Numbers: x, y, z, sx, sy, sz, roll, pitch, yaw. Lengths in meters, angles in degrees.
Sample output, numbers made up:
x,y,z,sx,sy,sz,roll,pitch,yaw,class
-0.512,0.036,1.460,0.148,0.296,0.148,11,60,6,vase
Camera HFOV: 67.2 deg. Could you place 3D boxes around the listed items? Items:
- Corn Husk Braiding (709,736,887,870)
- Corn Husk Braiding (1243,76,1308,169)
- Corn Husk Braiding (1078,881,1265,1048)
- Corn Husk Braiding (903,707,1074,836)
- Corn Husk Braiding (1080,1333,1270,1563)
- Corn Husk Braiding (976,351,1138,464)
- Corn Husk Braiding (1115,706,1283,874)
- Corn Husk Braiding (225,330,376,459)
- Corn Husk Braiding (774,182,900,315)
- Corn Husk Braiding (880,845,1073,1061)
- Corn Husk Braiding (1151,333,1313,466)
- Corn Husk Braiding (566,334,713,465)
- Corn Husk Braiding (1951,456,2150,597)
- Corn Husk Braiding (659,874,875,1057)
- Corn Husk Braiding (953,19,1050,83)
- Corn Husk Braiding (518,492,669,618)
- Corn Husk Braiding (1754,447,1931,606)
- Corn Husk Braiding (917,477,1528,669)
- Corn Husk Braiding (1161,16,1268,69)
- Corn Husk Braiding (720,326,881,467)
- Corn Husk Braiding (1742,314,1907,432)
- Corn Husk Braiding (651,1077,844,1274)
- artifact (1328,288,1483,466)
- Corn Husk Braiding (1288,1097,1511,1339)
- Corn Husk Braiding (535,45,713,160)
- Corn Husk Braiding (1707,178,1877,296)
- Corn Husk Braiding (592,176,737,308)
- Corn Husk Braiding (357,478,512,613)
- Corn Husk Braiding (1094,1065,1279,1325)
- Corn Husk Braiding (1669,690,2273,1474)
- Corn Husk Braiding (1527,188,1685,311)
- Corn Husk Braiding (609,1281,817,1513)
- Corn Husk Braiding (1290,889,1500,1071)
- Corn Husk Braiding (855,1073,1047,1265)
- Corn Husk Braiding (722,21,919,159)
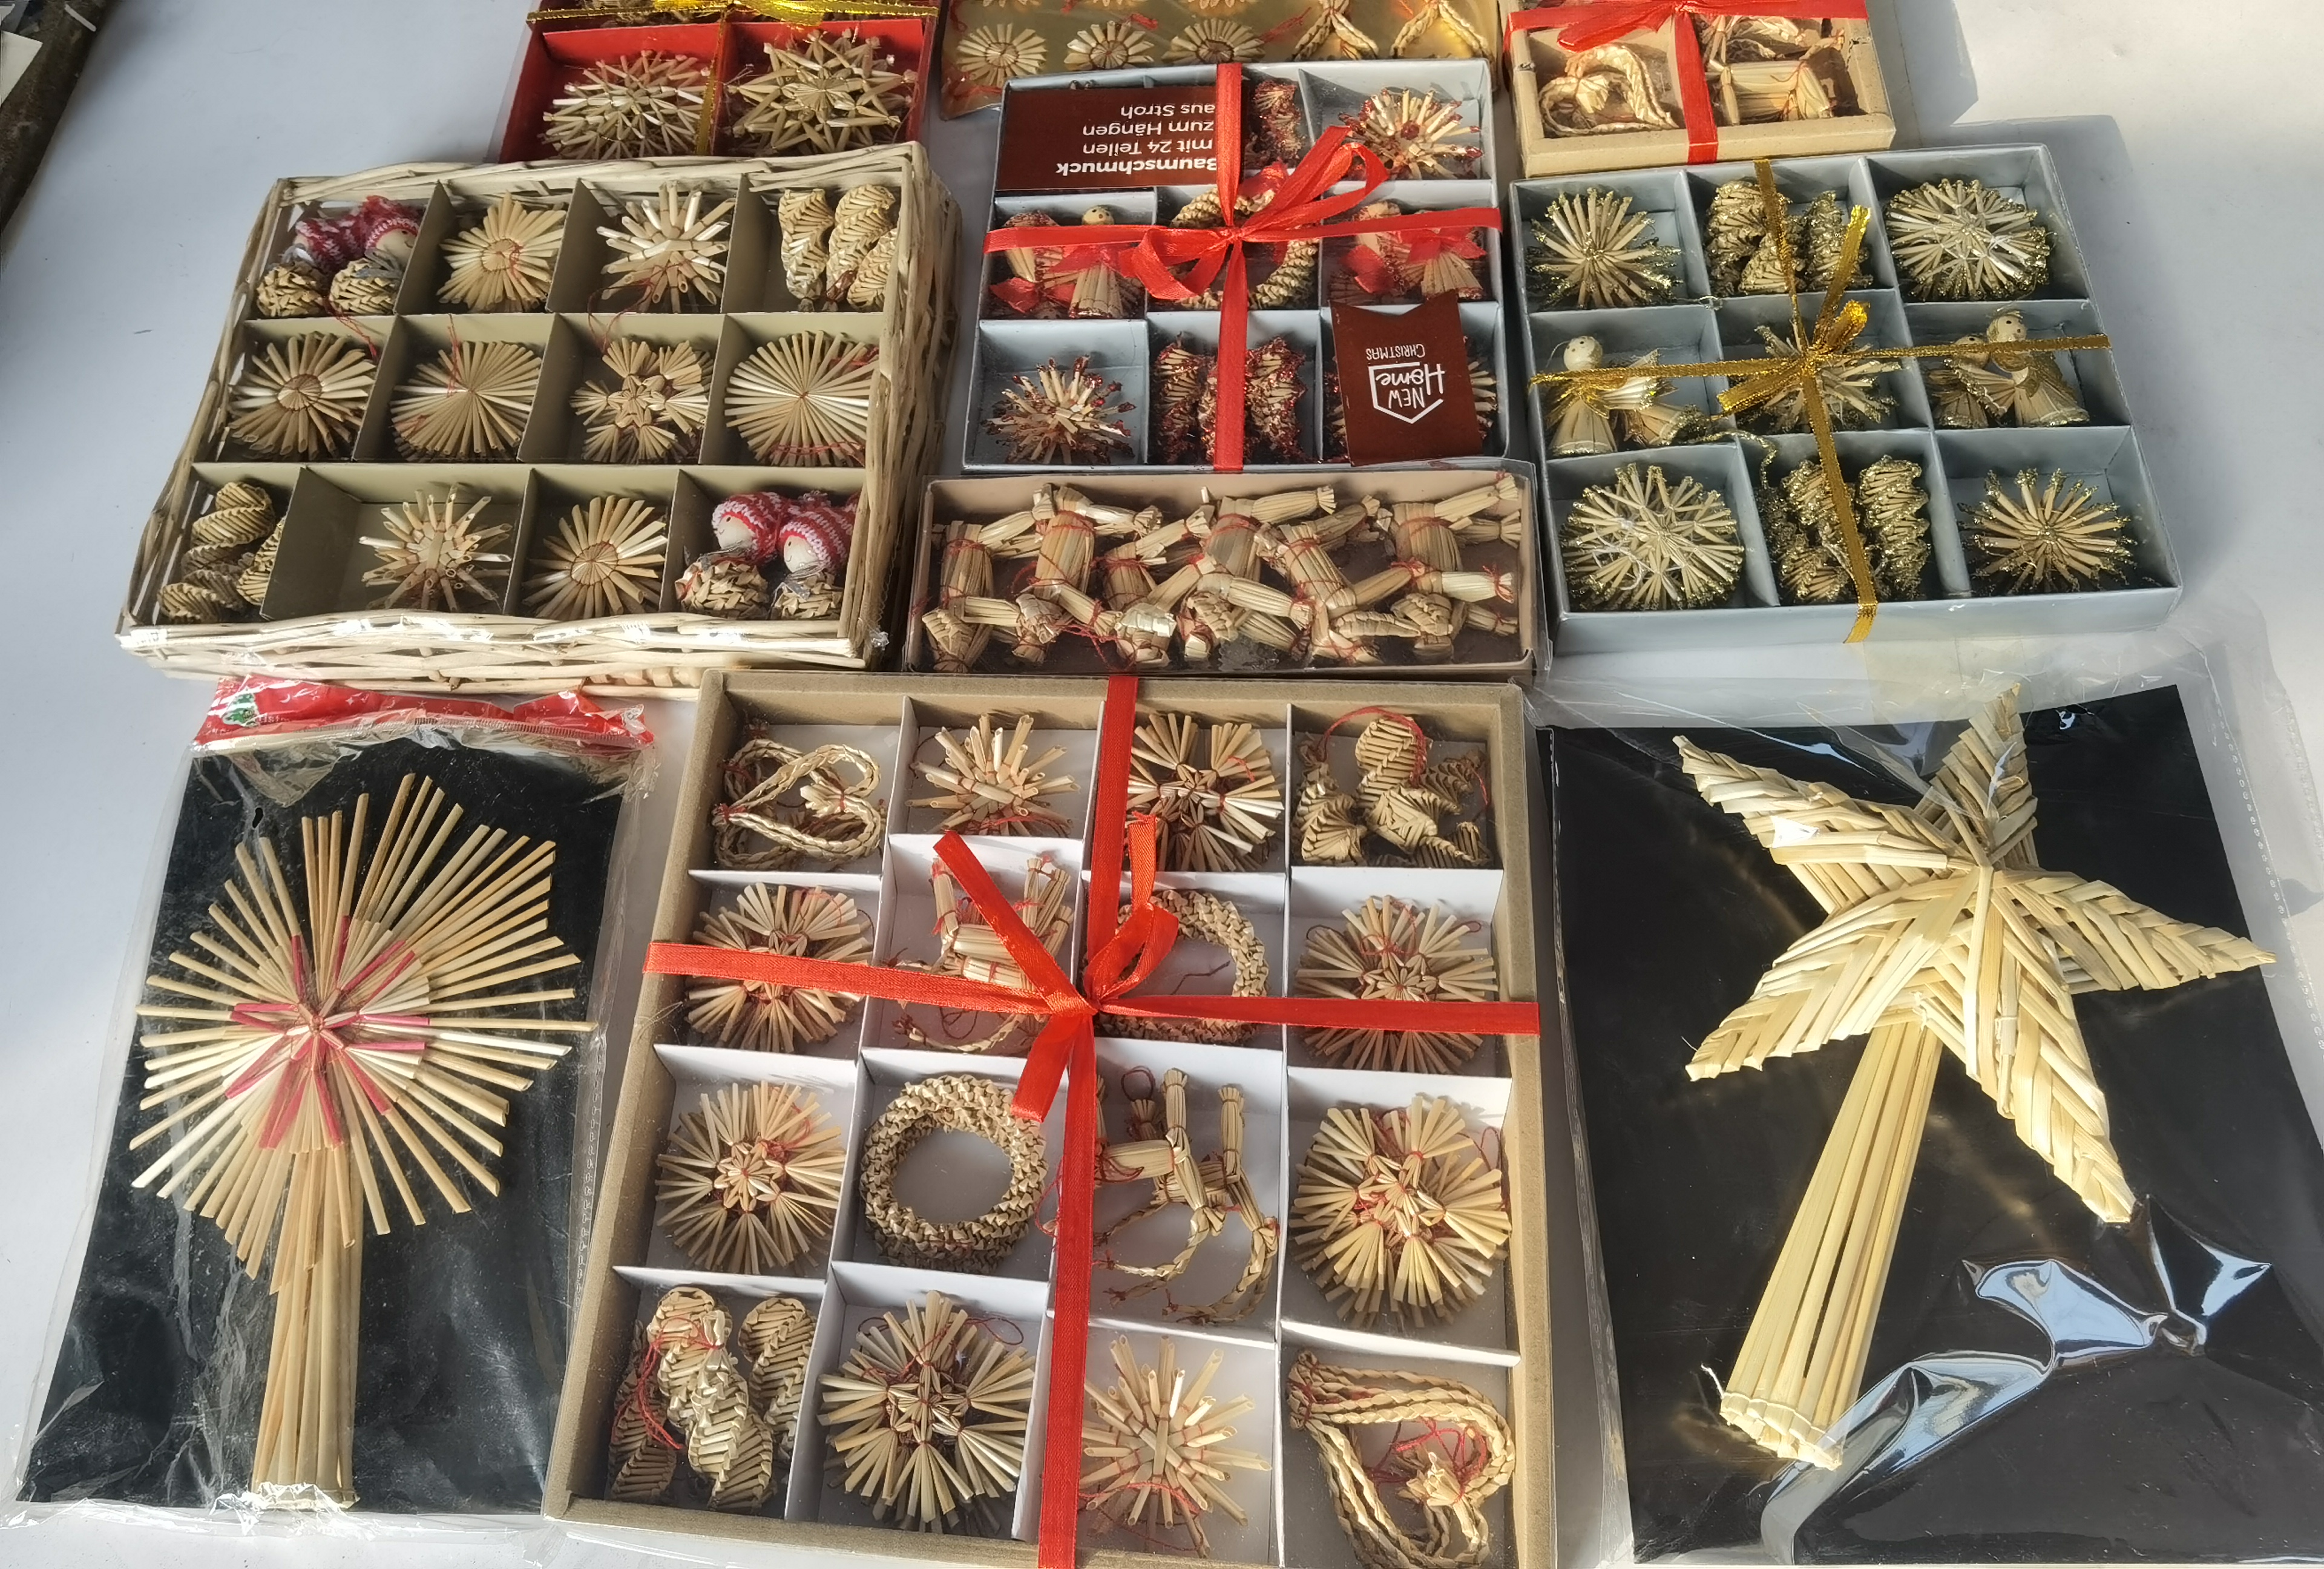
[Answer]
x,y,z,sx,sy,sz,roll,pitch,yaw,class
-0.506,0.037,2.481,0.239,0.089,0.158,7,78,-8,Corn Husk Braiding
0.183,-1.059,2.824,0.121,0.140,0.069,-6,-1,1,Corn Husk Braiding
0.013,0.237,2.283,0.214,0.065,0.203,3,84,4,Corn Husk Braiding
-0.221,-0.040,2.442,0.179,0.169,0.065,5,80,-9,Corn Husk Braiding
0.026,0.827,2.185,0.238,0.210,0.210,-1,35,7,Corn Husk Braiding
-0.147,-0.551,2.629,0.199,0.065,0.190,30,72,9,Corn Husk Braiding
0.056,0.021,2.428,0.109,0.258,0.276,-6,-5,-39,Corn Husk Braiding
-1.314,-0.590,2.740,0.228,0.081,0.211,12,76,9,Corn Husk Braiding
-0.522,-0.844,2.691,0.161,0.052,0.173,-36,66,-30,Corn Husk Braiding
-0.230,0.226,2.243,0.269,0.072,0.251,-2,76,9,Corn Husk Braiding
0.106,-0.579,2.627,0.233,0.145,0.189,-1,35,5,Corn Husk Braiding
-0.783,-0.606,2.682,0.168,0.061,0.157,-29,44,36,Corn Husk Braiding
1.252,-0.350,2.456,0.207,0.081,0.192,16,74,9,Corn Husk Braiding
-0.521,0.254,2.363,0.256,0.073,0.233,-1,70,0,Corn Husk Braiding
-0.259,-1.224,2.919,0.194,0.023,0.179,5,59,-1,Corn Husk Braiding
-0.793,-0.340,2.589,0.064,0.208,0.226,-16,16,-2,Corn Husk Braiding
0.979,-0.352,2.472,0.242,0.098,0.208,-1,84,6,Corn Husk Braiding
0.093,-0.291,2.485,0.863,0.241,0.245,0,35,7,Corn Husk Braiding
0.097,-1.216,2.864,0.155,0.017,0.151,-13,60,-11,Corn Husk Braiding
-0.530,-0.575,2.609,0.240,0.081,0.218,6,79,5,Corn Husk Braiding
0.972,-0.628,2.555,0.243,0.179,0.210,7,37,18,Corn Husk Braiding
-0.539,0.526,2.348,0.249,0.093,0.226,3,81,3,Corn Husk Braiding
0.361,-0.594,2.553,0.195,0.175,0.217,-4,35,2,artifact
0.307,0.546,2.227,0.275,0.213,0.218,-1,35,7,Corn Husk Braiding
-0.870,-1.123,2.899,0.259,0.097,0.237,3,70,7,Corn Husk Braiding
0.935,-0.834,2.670,0.230,0.074,0.191,-49,45,-12,Corn Husk Braiding
-0.764,-0.832,2.719,0.220,0.073,0.202,8,88,8,Corn Husk Braiding
-1.095,-0.373,2.641,0.204,0.066,0.194,-12,-6,-39,Corn Husk Braiding
0.027,0.545,2.267,0.258,0.116,0.302,-5,45,-16,Corn Husk Braiding
0.909,0.362,2.163,0.705,0.110,0.871,26,88,18,Corn Husk Braiding
0.666,-0.806,2.653,0.232,0.109,0.211,-5,83,7,Corn Husk Braiding
-0.563,0.782,2.207,0.257,0.204,0.210,-2,35,5,Corn Husk Braiding
0.311,0.262,2.311,0.255,0.073,0.232,1,81,6,Corn Husk Braiding
-0.269,0.512,2.267,0.252,0.083,0.239,0,63,-1,Corn Husk Braiding
-0.554,-1.138,2.874,0.293,0.131,0.269,10,81,10,Corn Husk Braiding
